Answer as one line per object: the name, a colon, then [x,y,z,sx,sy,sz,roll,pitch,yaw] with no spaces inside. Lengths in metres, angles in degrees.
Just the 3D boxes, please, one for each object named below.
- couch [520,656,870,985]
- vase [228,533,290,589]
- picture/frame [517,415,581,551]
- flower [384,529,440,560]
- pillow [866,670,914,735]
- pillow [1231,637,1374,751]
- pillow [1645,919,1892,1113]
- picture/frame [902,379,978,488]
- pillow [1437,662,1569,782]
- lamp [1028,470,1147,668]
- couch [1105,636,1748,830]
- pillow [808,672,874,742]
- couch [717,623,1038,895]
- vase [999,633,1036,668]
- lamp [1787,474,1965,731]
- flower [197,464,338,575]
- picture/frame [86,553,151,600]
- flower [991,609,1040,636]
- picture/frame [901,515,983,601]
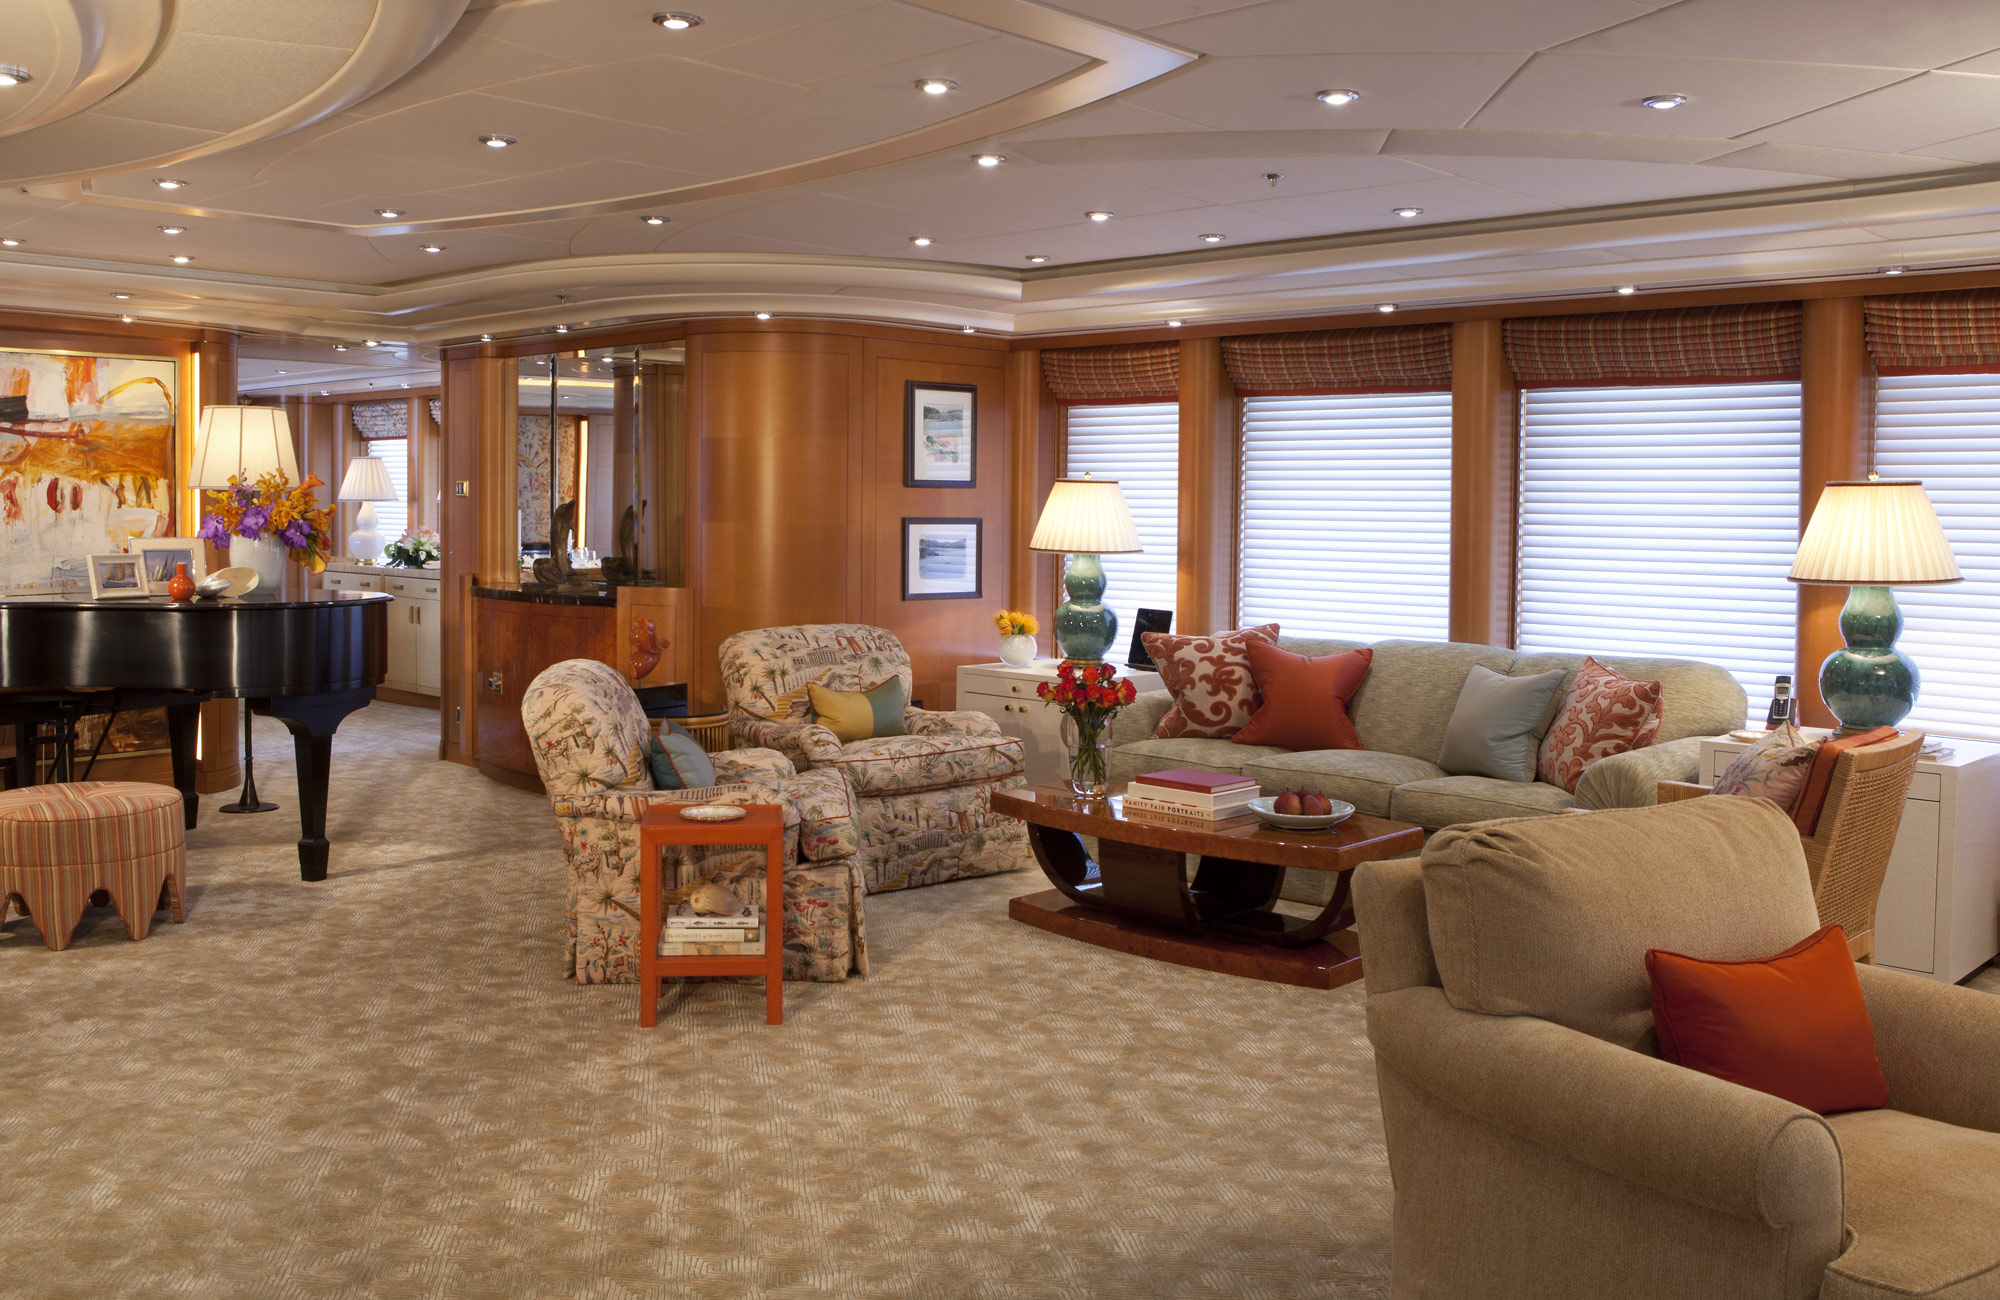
couch: [-1.411,0.711,6.118,1.541,0.990,1.089,7,3,-22]
vase: [-3.815,-0.462,7.356,0.356,0.263,0.318,-1,10,-33]
picture/frame: [-2.974,-1.104,9.199,0.654,0.937,0.107,2,7,39]
flower: [-5.277,-0.927,12.601,0.449,0.187,0.395,2,-5,-24]
pillow: [-0.568,0.306,7.330,0.100,0.235,0.317,-13,-7,38]
pillow: [1.612,0.237,7.259,0.693,0.454,0.362,2,19,34]
pillow: [1.930,0.966,3.514,0.802,0.412,0.269,2,-6,-31]
picture/frame: [-0.368,-1.364,8.952,0.459,0.366,0.016,4,14,16]
pillow: [2.434,0.356,6.824,0.457,0.469,0.679,-6,1,-12]
lamp: [0.497,-0.470,8.398,0.605,1.091,1.058,-2,5,1]
couch: [2.338,0.349,7.967,3.243,0.958,1.184,3,-14,-39]
pillow: [-0.819,0.277,7.233,0.418,0.322,0.120,-2,-30,-46]
couch: [-0.712,0.485,7.355,1.173,0.963,1.405,-3,10,-37]
vase: [0.110,0.007,8.771,0.249,0.165,0.198,2,-3,-4]
lamp: [3.614,-0.179,5.851,0.431,1.065,0.409,-5,6,-28]
flower: [-3.864,-0.626,7.309,0.608,0.439,0.478,4,-27,-24]
picture/frame: [-4.480,-0.367,7.125,0.364,0.239,0.037,-4,-8,-45]
flower: [0.068,-0.173,8.713,0.210,0.110,0.208,5,-8,-34]
picture/frame: [-0.401,-0.599,8.996,0.751,0.477,0.055,2,-5,-39]
